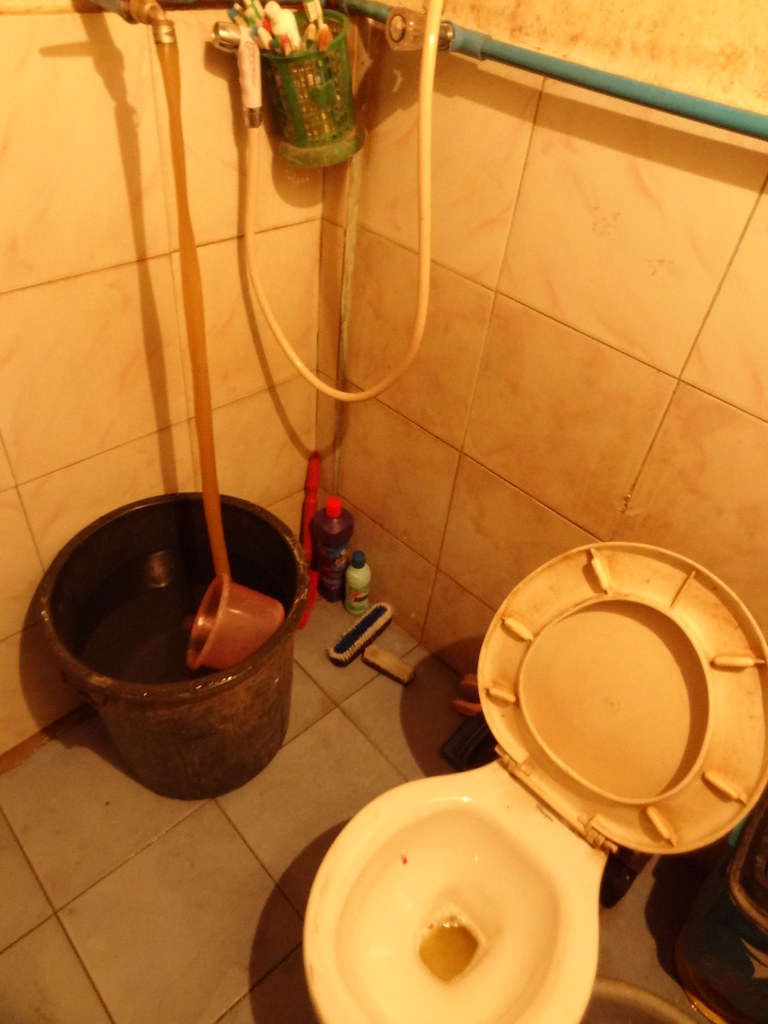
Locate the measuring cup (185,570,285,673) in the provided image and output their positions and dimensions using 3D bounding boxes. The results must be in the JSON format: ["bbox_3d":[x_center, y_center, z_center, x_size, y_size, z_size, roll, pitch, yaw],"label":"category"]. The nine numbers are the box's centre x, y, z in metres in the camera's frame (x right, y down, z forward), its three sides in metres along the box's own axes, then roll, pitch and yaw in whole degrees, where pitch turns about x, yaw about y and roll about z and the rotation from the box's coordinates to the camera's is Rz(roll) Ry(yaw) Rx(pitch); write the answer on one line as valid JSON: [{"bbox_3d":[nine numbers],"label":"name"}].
[{"bbox_3d":[-0.253,0.196,1.395,0.103,0.169,0.167,12,71,-14],"label":"measuring cup"}]

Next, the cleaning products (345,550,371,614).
[{"bbox_3d":[-0.059,0.152,1.873,0.043,0.130,0.047,-9,53,-12],"label":"cleaning products"}]

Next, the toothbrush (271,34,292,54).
[{"bbox_3d":[-0.133,-0.616,1.089,0.016,0.017,0.005,13,36,36],"label":"toothbrush"}]

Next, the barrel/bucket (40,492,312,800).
[{"bbox_3d":[-0.383,0.203,1.434,0.388,0.556,0.502,-14,52,-22],"label":"barrel/bucket"}]

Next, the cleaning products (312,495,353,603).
[{"bbox_3d":[-0.115,0.082,1.879,0.073,0.270,0.076,-29,52,-31],"label":"cleaning products"}]
